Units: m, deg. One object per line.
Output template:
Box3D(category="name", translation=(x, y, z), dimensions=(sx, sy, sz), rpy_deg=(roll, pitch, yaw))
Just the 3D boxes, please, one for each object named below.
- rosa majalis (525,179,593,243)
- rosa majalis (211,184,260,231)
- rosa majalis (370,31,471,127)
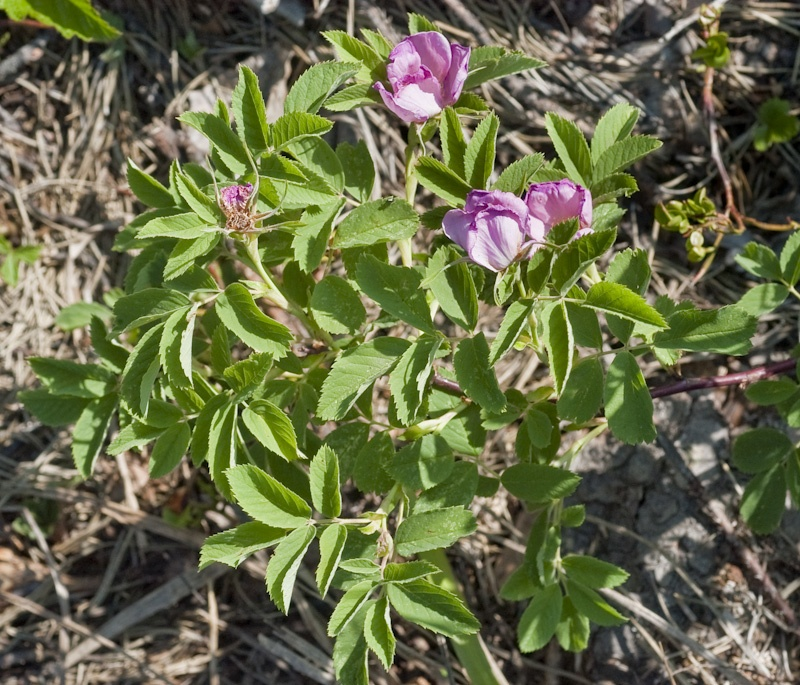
Box3D(category="rosa majalis", translation=(0.458, -0.383, 2.480), dimensions=(0.201, 0.223, 0.099), rpy_deg=(-6, 76, -14))
Box3D(category="rosa majalis", translation=(-0.475, -0.388, 2.477), dimensions=(0.115, 0.076, 0.131), rpy_deg=(-9, 76, -6))
Box3D(category="rosa majalis", translation=(0.068, -0.801, 2.574), dimensions=(0.298, 0.201, 0.247), rpy_deg=(3, 75, -3))
